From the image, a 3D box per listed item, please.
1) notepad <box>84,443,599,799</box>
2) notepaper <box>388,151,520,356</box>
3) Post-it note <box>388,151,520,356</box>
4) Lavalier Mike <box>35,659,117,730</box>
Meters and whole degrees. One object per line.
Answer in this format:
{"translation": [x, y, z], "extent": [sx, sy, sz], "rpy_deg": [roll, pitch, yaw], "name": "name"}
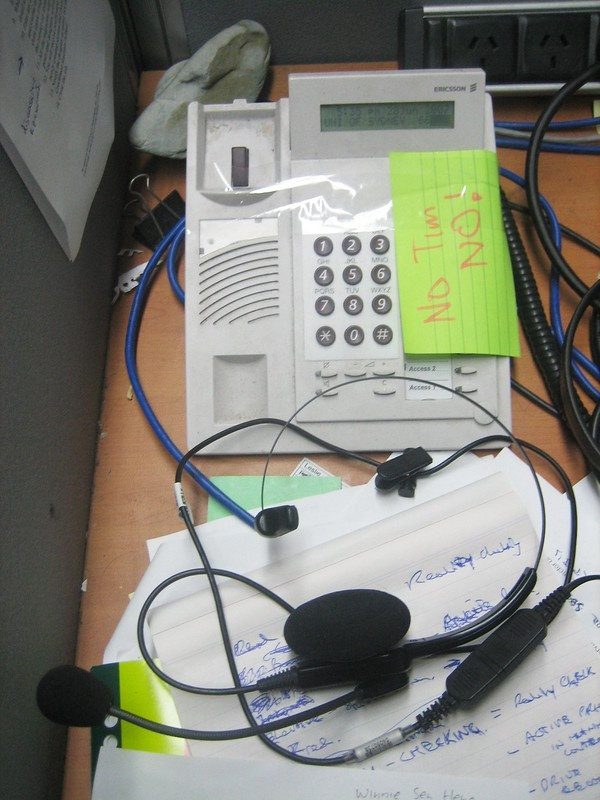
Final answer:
{"translation": [0.052, 0.178, 0.547], "extent": [0.417, 0.087, 0.249], "rpy_deg": [-11, 46, -4], "name": "notepad"}
{"translation": [0.129, -0.123, 0.621], "extent": [0.097, 0.113, 0.149], "rpy_deg": [-3, 46, 3], "name": "notepaper"}
{"translation": [0.129, -0.123, 0.621], "extent": [0.097, 0.113, 0.149], "rpy_deg": [-3, 46, 3], "name": "Post-it note"}
{"translation": [-0.144, 0.194, 0.473], "extent": [0.047, 0.012, 0.034], "rpy_deg": [27, 68, -11], "name": "Lavalier Mike"}
